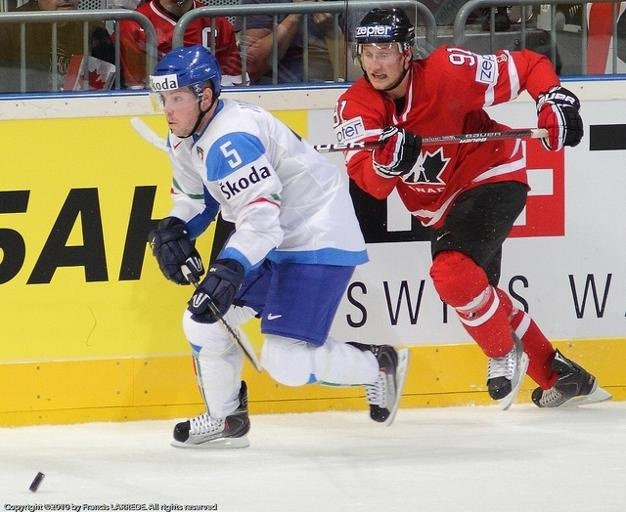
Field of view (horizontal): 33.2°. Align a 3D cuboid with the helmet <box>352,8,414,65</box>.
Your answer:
[{"bbox_3d":[0.288,-0.902,4.230,0.177,0.190,0.214,3,8,30],"label":"helmet"}]

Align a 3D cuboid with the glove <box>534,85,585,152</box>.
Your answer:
[{"bbox_3d":[0.976,-0.552,4.193,0.186,0.243,0.114,-2,-4,6],"label":"glove"}]

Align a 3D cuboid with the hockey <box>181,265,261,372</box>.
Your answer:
[{"bbox_3d":[-0.374,0.243,4.176,0.096,0.670,0.055,-50,26,-18],"label":"hockey"}]

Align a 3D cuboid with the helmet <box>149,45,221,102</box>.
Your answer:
[{"bbox_3d":[-0.517,-0.719,4.116,0.241,0.221,0.180,-25,24,-36],"label":"helmet"}]

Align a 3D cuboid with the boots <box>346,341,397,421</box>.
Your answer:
[{"bbox_3d":[0.210,0.488,4.516,0.296,0.412,0.142,-3,6,-38],"label":"boots"}]

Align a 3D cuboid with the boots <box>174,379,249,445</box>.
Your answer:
[{"bbox_3d":[-0.412,0.647,4.385,0.400,0.268,0.127,-1,27,-11],"label":"boots"}]

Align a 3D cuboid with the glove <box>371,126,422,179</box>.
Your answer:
[{"bbox_3d":[0.318,-0.401,4.070,0.211,0.191,0.158,-1,3,-25],"label":"glove"}]

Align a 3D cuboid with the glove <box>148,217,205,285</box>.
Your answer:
[{"bbox_3d":[-0.552,0.014,4.232,0.175,0.310,0.105,-22,-26,-8],"label":"glove"}]
